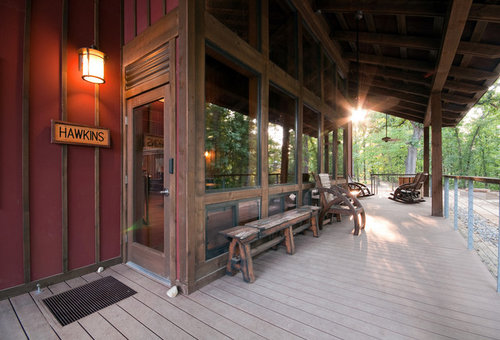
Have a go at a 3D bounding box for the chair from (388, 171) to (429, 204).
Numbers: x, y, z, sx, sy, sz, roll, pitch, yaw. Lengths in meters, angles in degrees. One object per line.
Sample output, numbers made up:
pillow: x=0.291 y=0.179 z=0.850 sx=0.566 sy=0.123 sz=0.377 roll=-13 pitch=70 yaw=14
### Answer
chair: x=5.038 y=0.591 z=10.331 sx=1.098 sy=0.872 sz=0.826 roll=-3 pitch=5 yaw=33

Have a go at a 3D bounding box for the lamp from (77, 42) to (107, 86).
lamp: x=-2.557 y=-1.749 z=5.118 sx=0.340 sy=0.603 sz=0.405 roll=2 pitch=1 yaw=20

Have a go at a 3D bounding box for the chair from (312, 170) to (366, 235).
chair: x=2.075 y=0.711 z=7.381 sx=1.102 sy=1.288 sz=1.588 roll=-2 pitch=1 yaw=23

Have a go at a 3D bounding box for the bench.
bench: x=0.566 y=1.214 z=5.871 sx=0.567 sy=0.706 sz=2.619 roll=4 pitch=9 yaw=39
